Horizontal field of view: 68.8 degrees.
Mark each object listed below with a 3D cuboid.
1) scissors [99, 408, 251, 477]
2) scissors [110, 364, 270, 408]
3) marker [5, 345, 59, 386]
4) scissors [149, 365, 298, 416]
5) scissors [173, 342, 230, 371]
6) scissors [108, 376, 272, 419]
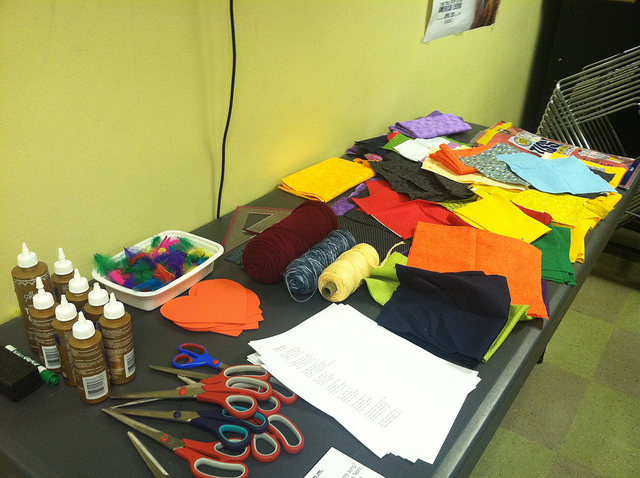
[{"bbox_3d":[-0.210,0.355,0.784,0.172,0.008,0.074,15,31,9],"label":"scissors"},{"bbox_3d":[-0.241,0.283,0.856,0.282,0.013,0.103,-3,31,-11],"label":"scissors"},{"bbox_3d":[-0.552,0.237,0.897,0.129,0.045,0.027,21,39,23],"label":"marker"},{"bbox_3d":[-0.178,0.258,0.899,0.246,0.018,0.095,13,28,19],"label":"scissors"},{"bbox_3d":[-0.249,0.234,0.938,0.092,0.007,0.048,10,20,16],"label":"scissors"},{"bbox_3d":[-0.236,0.285,0.854,0.293,0.124,0.030,-1,29,-7],"label":"scissors"}]
